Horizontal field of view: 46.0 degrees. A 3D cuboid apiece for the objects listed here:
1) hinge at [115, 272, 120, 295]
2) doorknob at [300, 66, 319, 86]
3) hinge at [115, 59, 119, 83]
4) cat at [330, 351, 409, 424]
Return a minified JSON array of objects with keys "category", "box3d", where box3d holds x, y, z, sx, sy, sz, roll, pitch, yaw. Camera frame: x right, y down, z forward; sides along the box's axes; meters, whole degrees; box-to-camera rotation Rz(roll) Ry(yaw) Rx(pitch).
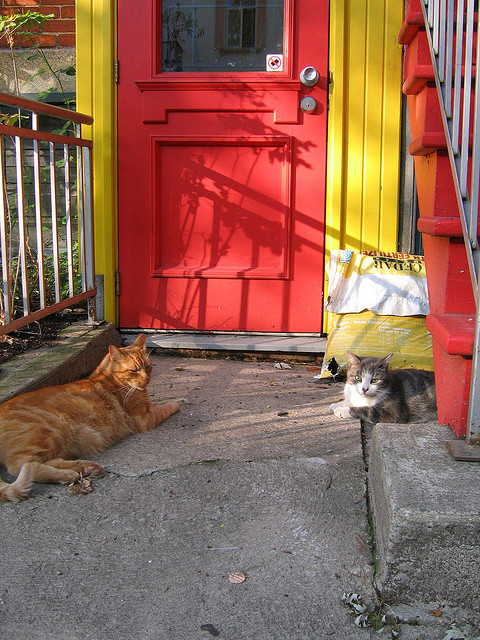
[{"category":"hinge","box3d":[-0.799,-0.231,3.712,0.035,0.144,0.012,-3,11,-10]},{"category":"doorknob","box3d":[0.415,-1.456,3.410,0.121,0.119,0.042,0,-1,2]},{"category":"hinge","box3d":[-0.766,-1.545,3.544,0.027,0.137,0.011,-3,11,-9]},{"category":"cat","box3d":[0.667,0.329,2.748,0.481,0.321,0.326,-1,10,-37]}]
